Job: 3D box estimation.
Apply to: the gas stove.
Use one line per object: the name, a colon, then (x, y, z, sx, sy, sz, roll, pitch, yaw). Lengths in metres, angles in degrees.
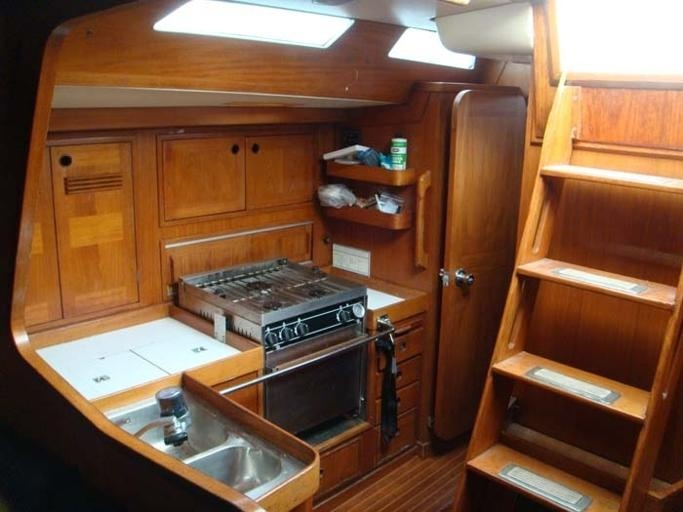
gas stove: (-0.392, 0.200, 2.634, 0.548, 0.184, 0.527, 18, 23, 41)

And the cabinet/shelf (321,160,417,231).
cabinet/shelf: (0.184, -0.356, 3.091, 0.527, 0.319, 0.307, 11, 11, 26)

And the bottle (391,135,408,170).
bottle: (0.324, -0.573, 2.927, 0.099, 0.169, 0.245, -1, 18, 5)

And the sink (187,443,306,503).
sink: (-0.307, 0.704, 1.682, 0.375, 0.143, 0.155, 9, 21, 33)

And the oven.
oven: (-0.139, 0.586, 2.532, 0.370, 0.528, 0.541, 12, 20, 44)
